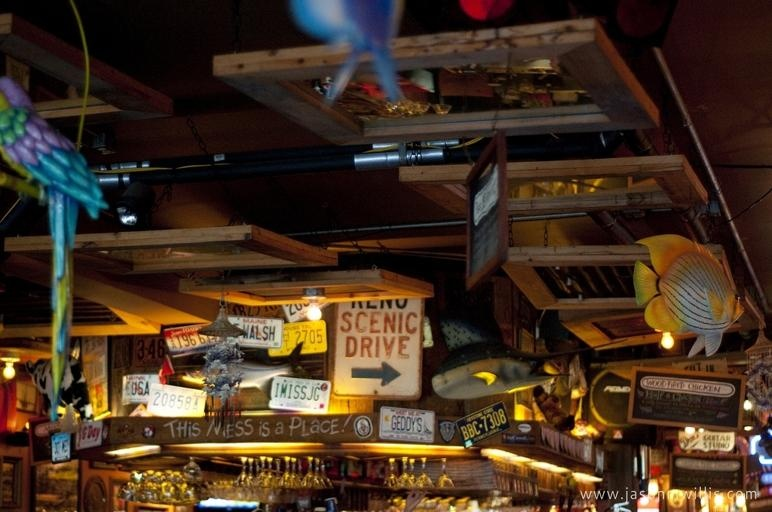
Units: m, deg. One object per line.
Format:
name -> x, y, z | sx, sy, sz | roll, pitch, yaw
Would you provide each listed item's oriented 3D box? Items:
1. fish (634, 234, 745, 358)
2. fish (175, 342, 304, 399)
fish -> 3.169, 0.399, 14.827 | 1.031, 1.274, 1.215 | 1, -2, 16
fish -> -2.175, 1.603, 19.910 | 1.985, 0.743, 0.685 | -2, -19, 12
